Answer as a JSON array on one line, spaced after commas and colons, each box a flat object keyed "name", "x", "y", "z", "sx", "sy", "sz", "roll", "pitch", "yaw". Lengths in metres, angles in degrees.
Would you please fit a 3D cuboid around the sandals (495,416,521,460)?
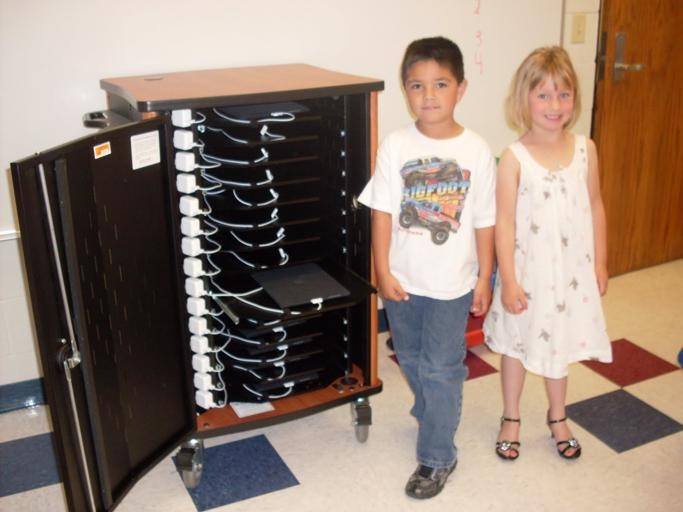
[{"name": "sandals", "x": 0.655, "y": 0.722, "z": 2.233, "sx": 0.064, "sy": 0.076, "sz": 0.193, "roll": 0, "pitch": 12, "yaw": 12}]

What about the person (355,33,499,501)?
[{"name": "person", "x": 0.289, "y": 0.070, "z": 1.978, "sx": 0.482, "sy": 1.556, "sz": 0.457, "roll": 0, "pitch": 20, "yaw": 15}]

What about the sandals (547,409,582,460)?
[{"name": "sandals", "x": 0.852, "y": 0.686, "z": 2.251, "sx": 0.076, "sy": 0.090, "sz": 0.229, "roll": -15, "pitch": 37, "yaw": -2}]
